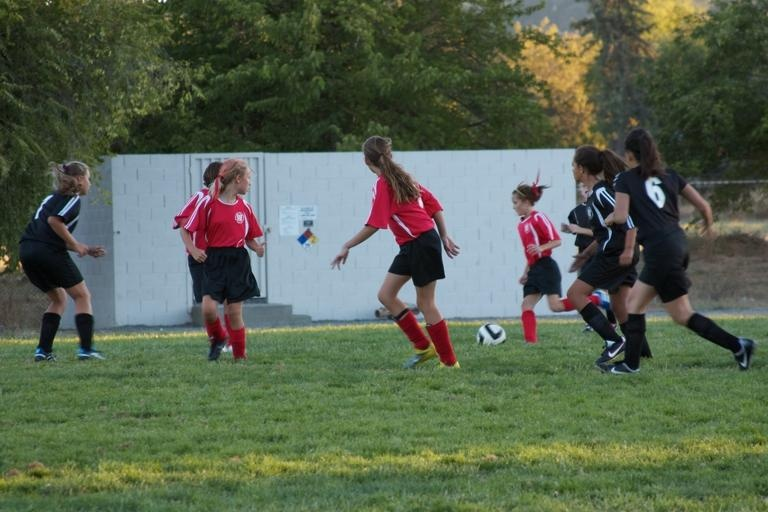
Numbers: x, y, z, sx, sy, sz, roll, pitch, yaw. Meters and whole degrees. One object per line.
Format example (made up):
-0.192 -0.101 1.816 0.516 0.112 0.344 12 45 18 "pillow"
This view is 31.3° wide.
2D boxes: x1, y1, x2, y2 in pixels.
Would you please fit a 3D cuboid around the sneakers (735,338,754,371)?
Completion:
6.358 1.721 23.987 0.280 0.674 0.228 0 21 4 "sneakers"

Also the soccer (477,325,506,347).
2.034 1.525 25.939 0.422 0.418 0.415 4 39 40 "soccer"

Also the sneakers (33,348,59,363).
-6.215 1.853 25.098 0.463 0.218 0.175 2 5 -12 "sneakers"

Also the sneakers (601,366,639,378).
4.147 2.018 24.035 0.597 0.234 0.222 5 -1 11 "sneakers"

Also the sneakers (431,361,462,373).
1.117 1.994 24.384 0.442 0.195 0.163 -6 -3 11 "sneakers"

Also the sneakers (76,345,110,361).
-5.352 1.809 25.035 0.563 0.261 0.207 0 0 -2 "sneakers"
